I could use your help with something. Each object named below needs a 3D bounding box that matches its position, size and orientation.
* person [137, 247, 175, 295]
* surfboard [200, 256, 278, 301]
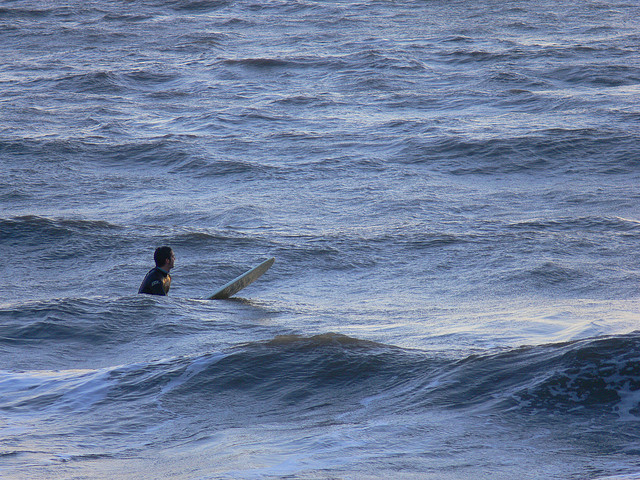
[{"bbox_3d":[-4.580,0.852,39.954,0.843,1.499,0.370,8,23,-6],"label":"person"},{"bbox_3d":[-2.375,1.208,42.816,3.199,0.320,0.241,-22,46,-23],"label":"surfboard"}]
